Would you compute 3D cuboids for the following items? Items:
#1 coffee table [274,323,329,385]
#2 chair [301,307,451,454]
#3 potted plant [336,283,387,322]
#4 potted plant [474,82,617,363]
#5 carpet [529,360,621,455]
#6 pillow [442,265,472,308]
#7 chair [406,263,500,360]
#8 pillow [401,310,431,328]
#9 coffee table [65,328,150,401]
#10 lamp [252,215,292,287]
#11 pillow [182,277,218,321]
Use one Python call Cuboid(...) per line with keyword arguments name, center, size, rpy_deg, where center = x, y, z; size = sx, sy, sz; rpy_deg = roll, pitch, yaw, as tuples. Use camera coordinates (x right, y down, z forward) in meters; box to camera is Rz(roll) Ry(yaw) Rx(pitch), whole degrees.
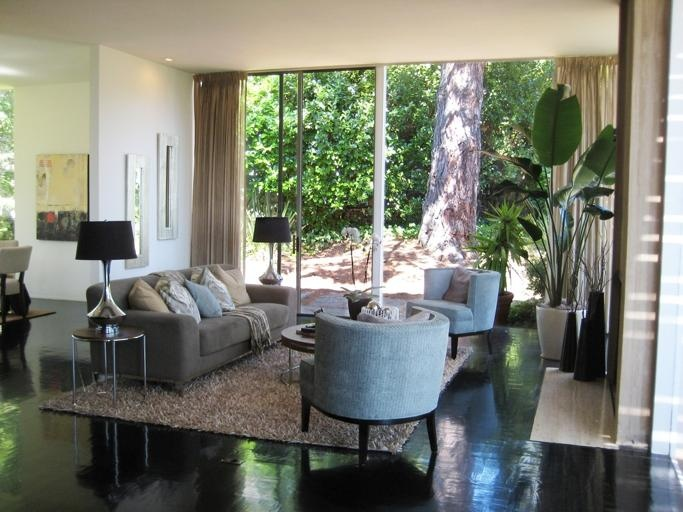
Cuboid(name="coffee table", center=(-0.316, 0.955, 5.114), size=(0.535, 0.438, 0.495), rpy_deg=(12, 11, 43))
Cuboid(name="chair", center=(0.297, 0.845, 4.194), size=(1.021, 1.042, 0.958), rpy_deg=(-9, 14, -34))
Cuboid(name="potted plant", center=(0.151, 0.441, 5.506), size=(0.283, 0.263, 0.340), rpy_deg=(-8, 0, 34))
Cuboid(name="potted plant", center=(2.428, -0.278, 6.337), size=(1.743, 3.031, 1.403), rpy_deg=(1, 2, -25))
Cuboid(name="carpet", center=(2.111, 1.317, 5.015), size=(0.652, 0.025, 1.825), rpy_deg=(-6, 7, 27))
Cuboid(name="pillow", center=(1.452, 0.372, 6.736), size=(0.110, 0.387, 0.366), rpy_deg=(23, -11, -20))
Cuboid(name="chair", center=(1.361, 0.647, 6.618), size=(0.852, 1.007, 0.932), rpy_deg=(2, 1, -36))
Cuboid(name="pillow", center=(0.588, 0.489, 4.262), size=(0.201, 0.071, 0.221), rpy_deg=(-17, 8, -22))
Cuboid(name="coffee table", center=(-2.032, 0.983, 4.777), size=(0.550, 0.633, 0.589), rpy_deg=(-6, -10, 11))
Cuboid(name="lamp", center=(-0.907, -0.025, 7.090), size=(0.478, 0.892, 0.478), rpy_deg=(6, -9, -33))
Cuboid(name="pillow", center=(-1.425, 0.436, 5.635), size=(0.110, 0.367, 0.374), rpy_deg=(-27, -8, 17))
